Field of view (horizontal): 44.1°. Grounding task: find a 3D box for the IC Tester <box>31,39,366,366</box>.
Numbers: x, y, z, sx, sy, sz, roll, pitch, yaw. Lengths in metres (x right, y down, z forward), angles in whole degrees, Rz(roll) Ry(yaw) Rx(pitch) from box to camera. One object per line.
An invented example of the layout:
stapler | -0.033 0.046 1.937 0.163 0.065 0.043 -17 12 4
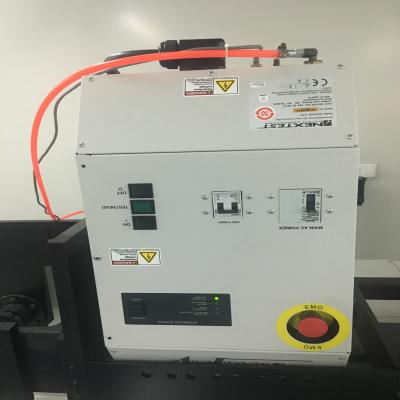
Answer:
IC Tester | 0.056 0.063 1.544 0.835 0.943 0.184 0 15 7
